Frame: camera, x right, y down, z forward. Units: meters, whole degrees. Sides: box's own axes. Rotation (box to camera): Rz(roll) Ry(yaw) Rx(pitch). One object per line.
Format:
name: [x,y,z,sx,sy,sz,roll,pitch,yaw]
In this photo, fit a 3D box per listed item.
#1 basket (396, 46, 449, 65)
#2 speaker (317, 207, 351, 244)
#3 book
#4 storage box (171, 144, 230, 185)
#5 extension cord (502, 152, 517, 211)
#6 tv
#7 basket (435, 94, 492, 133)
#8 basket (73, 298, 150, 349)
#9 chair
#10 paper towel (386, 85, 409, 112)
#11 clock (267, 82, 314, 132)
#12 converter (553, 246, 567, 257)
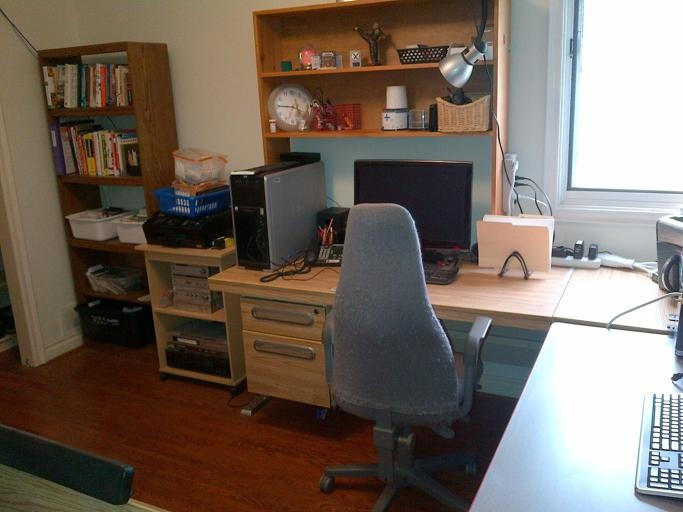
basket: [0.424,-1.049,2.940,0.199,0.063,0.132,5,23,15]
speaker: [-0.045,-0.163,3.157,0.160,0.287,0.158,10,22,24]
book: [-1.728,-0.938,3.884,0.843,0.772,0.294,1,10,14]
storage box: [-0.900,-0.562,3.535,0.259,0.202,0.277,6,20,26]
extension cord: [0.908,-0.388,3.044,0.063,0.318,0.127,4,19,22]
tv: [0.364,-0.228,2.708,0.518,0.361,0.135,5,12,23]
basket: [0.622,-0.773,2.867,0.267,0.166,0.197,7,23,24]
basket: [-1.678,0.480,4.138,0.478,0.228,0.316,5,10,19]
chair: [0.231,0.459,2.370,0.753,1.425,0.339,1,19,14]
paper towel: [0.326,-0.879,3.125,0.156,0.123,0.093,-18,23,-38]
clock: [-0.309,-0.904,3.415,0.284,0.276,0.066,2,3,-24]
converter: [1.155,-0.030,2.982,0.058,0.034,0.056,7,22,27]
